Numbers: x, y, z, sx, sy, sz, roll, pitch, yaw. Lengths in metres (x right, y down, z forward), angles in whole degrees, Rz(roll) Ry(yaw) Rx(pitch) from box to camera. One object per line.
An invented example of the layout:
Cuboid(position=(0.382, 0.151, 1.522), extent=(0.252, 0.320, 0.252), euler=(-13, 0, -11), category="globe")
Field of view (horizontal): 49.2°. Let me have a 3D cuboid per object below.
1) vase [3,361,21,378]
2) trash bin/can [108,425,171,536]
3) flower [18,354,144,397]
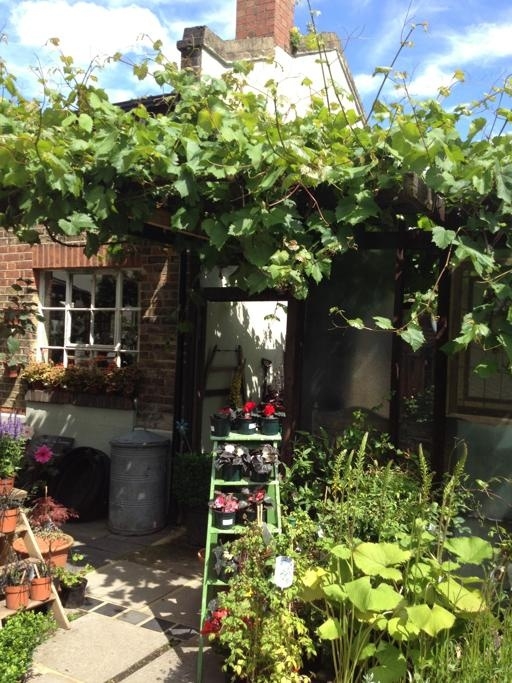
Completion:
Cuboid(position=(-2.650, 0.306, 6.054), extent=(0.190, 0.132, 0.182), euler=(0, -6, 2), category="vase")
Cuboid(position=(-1.028, 1.225, 4.993), extent=(0.601, 0.874, 0.696), euler=(3, -4, -20), category="trash bin/can")
Cuboid(position=(-1.720, 0.374, 5.583), extent=(0.846, 0.238, 0.545), euler=(-1, 5, 2), category="flower")
